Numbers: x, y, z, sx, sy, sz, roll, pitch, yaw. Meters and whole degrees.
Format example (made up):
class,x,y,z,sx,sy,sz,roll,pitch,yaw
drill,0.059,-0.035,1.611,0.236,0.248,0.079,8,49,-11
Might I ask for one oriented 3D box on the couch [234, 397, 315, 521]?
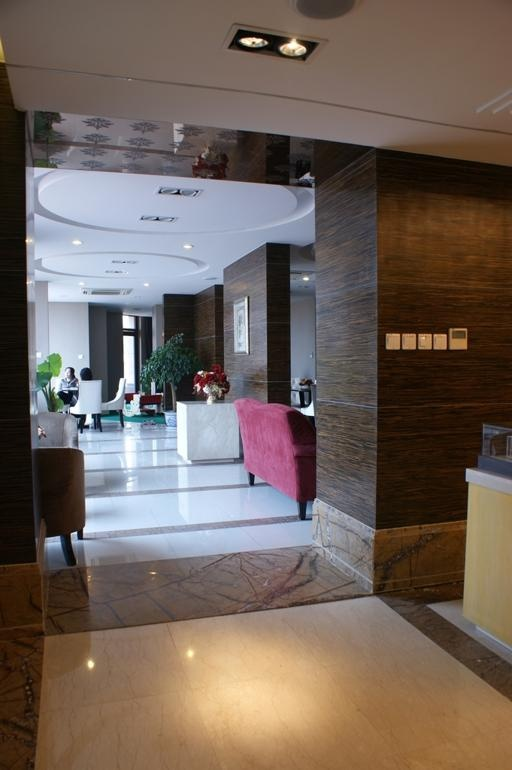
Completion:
class,x,y,z,sx,sy,sz,roll,pitch,yaw
couch,0.427,0.652,5.601,0.878,1.027,1.557,-3,3,-21

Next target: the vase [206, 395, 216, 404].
class,x,y,z,sx,sy,sz,roll,pitch,yaw
vase,-0.675,0.222,8.108,0.113,0.113,0.115,0,-4,8

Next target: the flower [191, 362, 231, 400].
class,x,y,z,sx,sy,sz,roll,pitch,yaw
flower,-0.709,0.012,8.352,0.627,0.638,0.629,-1,15,-14

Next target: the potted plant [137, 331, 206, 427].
class,x,y,z,sx,sy,sz,roll,pitch,yaw
potted plant,-2.041,-0.278,13.296,1.774,2.922,2.054,-1,9,-6

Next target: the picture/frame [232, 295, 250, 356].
class,x,y,z,sx,sy,sz,roll,pitch,yaw
picture/frame,-0.227,-0.930,8.284,0.045,0.923,0.802,1,0,-20
